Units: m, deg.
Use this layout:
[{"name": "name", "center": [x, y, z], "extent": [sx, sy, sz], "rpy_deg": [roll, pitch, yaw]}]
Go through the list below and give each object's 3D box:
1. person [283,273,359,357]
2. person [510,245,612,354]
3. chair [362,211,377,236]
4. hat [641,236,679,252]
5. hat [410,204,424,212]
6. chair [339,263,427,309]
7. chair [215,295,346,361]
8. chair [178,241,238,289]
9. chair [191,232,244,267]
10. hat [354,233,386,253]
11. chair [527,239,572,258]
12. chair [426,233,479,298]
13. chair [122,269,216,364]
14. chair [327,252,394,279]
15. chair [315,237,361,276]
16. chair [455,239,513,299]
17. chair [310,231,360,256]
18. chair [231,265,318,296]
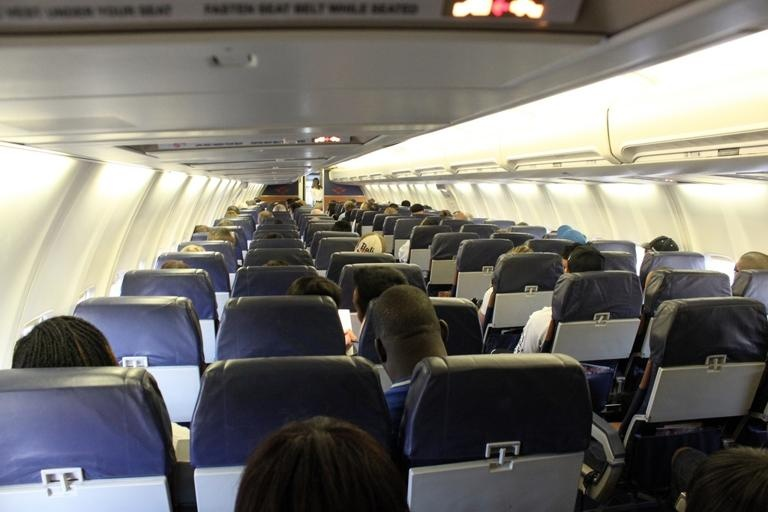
[{"name": "person", "center": [-0.471, 0.376, 4.100], "extent": [0.542, 0.662, 0.599], "rpy_deg": [-5, 30, -3]}, {"name": "person", "center": [1.532, 0.379, 4.781], "extent": [0.702, 0.922, 0.793], "rpy_deg": [-14, 38, -2]}, {"name": "chair", "center": [-0.363, -0.818, 13.091], "extent": [0.370, 0.538, 0.654], "rpy_deg": [0, -2, -1]}, {"name": "hat", "center": [3.726, -0.141, 7.402], "extent": [0.359, 0.141, 0.426], "rpy_deg": [0, 1, 9]}, {"name": "hat", "center": [0.900, -1.283, 14.896], "extent": [0.326, 0.150, 0.297], "rpy_deg": [0, 8, 4]}, {"name": "chair", "center": [-0.039, 0.259, 4.969], "extent": [0.678, 0.398, 0.447], "rpy_deg": [-1, 9, -4]}, {"name": "chair", "center": [-0.627, 0.431, 3.350], "extent": [0.677, 0.378, 0.447], "rpy_deg": [-1, 6, -5]}, {"name": "chair", "center": [-2.215, 0.005, 6.966], "extent": [0.832, 0.678, 0.732], "rpy_deg": [-1, 15, -10]}, {"name": "chair", "center": [-2.175, 0.008, 7.287], "extent": [0.695, 0.521, 0.638], "rpy_deg": [0, 18, -12]}, {"name": "hat", "center": [-0.136, -0.154, 7.122], "extent": [0.256, 0.207, 0.354], "rpy_deg": [24, 5, -4]}, {"name": "chair", "center": [2.163, -0.119, 7.148], "extent": [0.348, 0.379, 0.375], "rpy_deg": [0, 9, -5]}, {"name": "chair", "center": [0.978, 0.124, 7.641], "extent": [0.789, 1.135, 0.676], "rpy_deg": [-3, 46, -4]}, {"name": "chair", "center": [-1.468, 0.400, 3.757], "extent": [0.810, 0.638, 0.390], "rpy_deg": [0, 18, -4]}, {"name": "chair", "center": [-0.313, 0.061, 5.823], "extent": [0.445, 0.231, 0.396], "rpy_deg": [3, 9, -3]}, {"name": "chair", "center": [-0.668, 0.000, 7.411], "extent": [0.690, 0.407, 0.470], "rpy_deg": [-3, 0, -19]}, {"name": "chair", "center": [1.210, 0.147, 7.095], "extent": [0.746, 0.832, 0.920], "rpy_deg": [0, 20, -4]}, {"name": "chair", "center": [-0.804, -0.220, 8.440], "extent": [0.633, 0.473, 0.481], "rpy_deg": [-5, 30, -9]}, {"name": "chair", "center": [-1.008, 0.213, 4.789], "extent": [0.493, 0.370, 0.348], "rpy_deg": [-1, 7, -7]}]
